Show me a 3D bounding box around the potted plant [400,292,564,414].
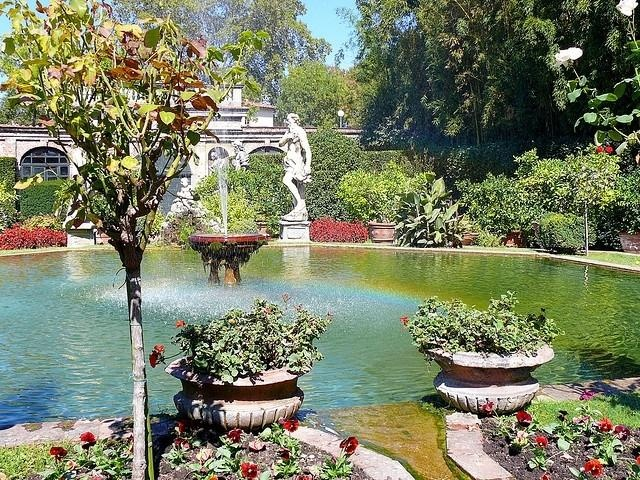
[{"bbox_3d":[1.460,1.042,4.556,1.315,1.032,0.857,0,1,15],"label":"potted plant"}]

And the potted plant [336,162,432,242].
[{"bbox_3d":[2.738,-2.094,23.025,2.975,2.318,3.136,3,2,-2],"label":"potted plant"}]
